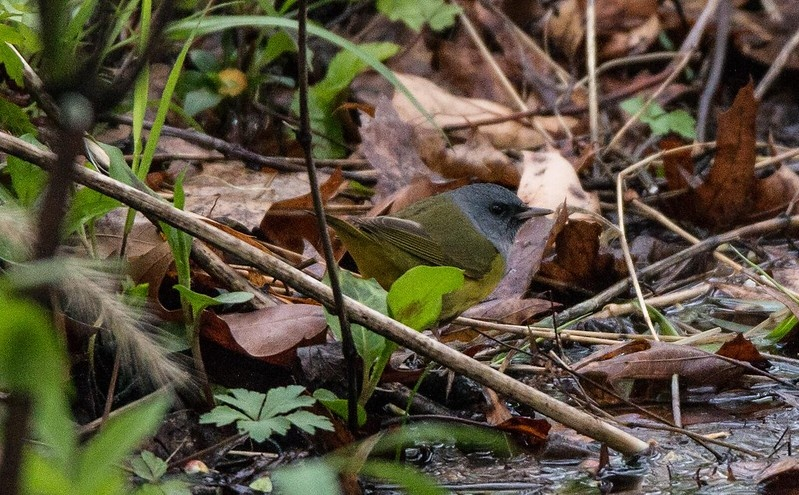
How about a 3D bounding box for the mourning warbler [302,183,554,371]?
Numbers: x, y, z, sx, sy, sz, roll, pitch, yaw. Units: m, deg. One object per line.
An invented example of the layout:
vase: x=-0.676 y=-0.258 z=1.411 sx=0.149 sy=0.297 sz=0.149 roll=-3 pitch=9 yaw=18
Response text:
mourning warbler: x=0.278 y=-0.111 z=4.667 sx=1.469 sy=0.703 sz=0.864 roll=14 pitch=86 yaw=-16
